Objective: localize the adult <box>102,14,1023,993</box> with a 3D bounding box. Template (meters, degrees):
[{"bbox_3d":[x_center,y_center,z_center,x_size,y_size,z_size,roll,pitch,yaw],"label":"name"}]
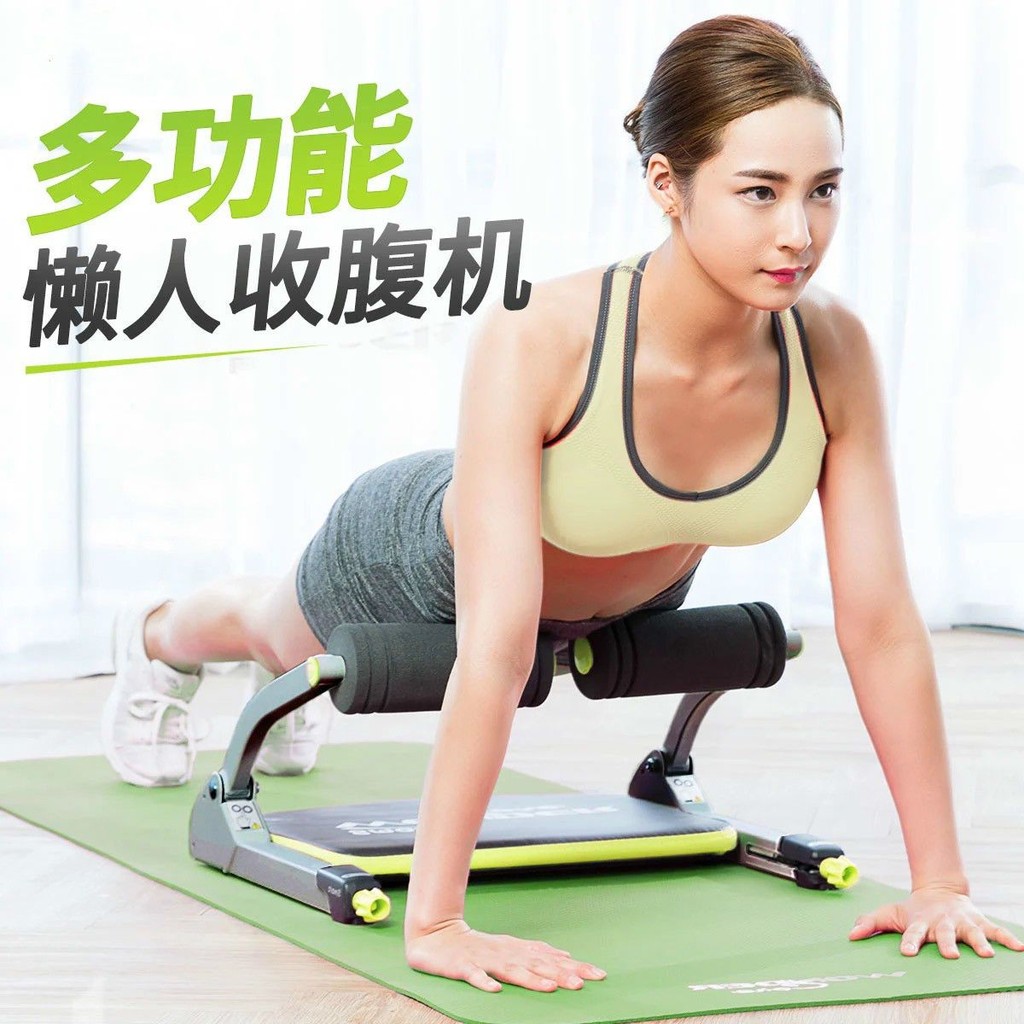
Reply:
[{"bbox_3d":[0.027,-0.038,1.432,0.667,0.737,1.221,4,-7,-30],"label":"adult"}]

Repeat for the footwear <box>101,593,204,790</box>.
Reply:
[{"bbox_3d":[-0.632,0.308,1.819,0.146,0.315,0.152,3,-8,-45],"label":"footwear"}]

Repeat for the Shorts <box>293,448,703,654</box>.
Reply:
[{"bbox_3d":[-0.093,0.055,1.392,0.395,0.147,0.354,6,-14,-36],"label":"Shorts"}]

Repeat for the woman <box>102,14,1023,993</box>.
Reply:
[{"bbox_3d":[0.027,-0.052,1.429,0.667,0.737,1.221,4,-7,-30],"label":"woman"}]

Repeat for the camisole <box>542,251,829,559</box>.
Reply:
[{"bbox_3d":[0.163,-0.106,1.024,0.278,0.308,0.154,-4,3,-11],"label":"camisole"}]

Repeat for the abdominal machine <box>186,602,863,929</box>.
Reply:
[{"bbox_3d":[-0.015,0.315,1.304,0.575,0.222,0.489,1,-5,-30],"label":"abdominal machine"}]
